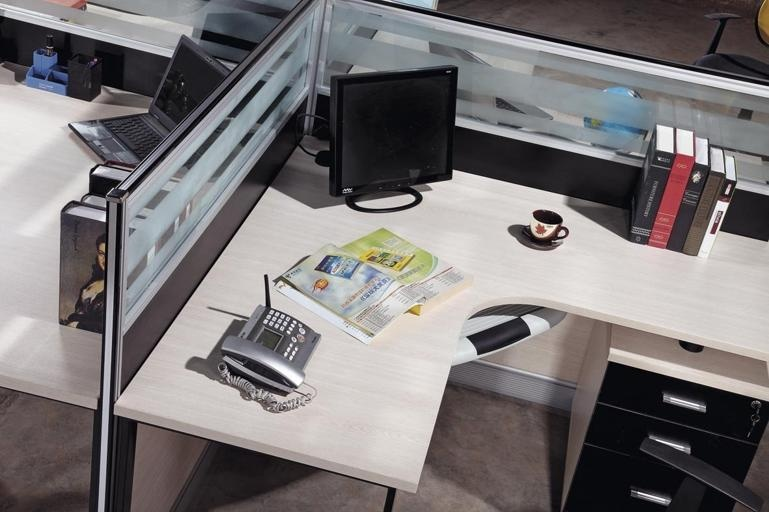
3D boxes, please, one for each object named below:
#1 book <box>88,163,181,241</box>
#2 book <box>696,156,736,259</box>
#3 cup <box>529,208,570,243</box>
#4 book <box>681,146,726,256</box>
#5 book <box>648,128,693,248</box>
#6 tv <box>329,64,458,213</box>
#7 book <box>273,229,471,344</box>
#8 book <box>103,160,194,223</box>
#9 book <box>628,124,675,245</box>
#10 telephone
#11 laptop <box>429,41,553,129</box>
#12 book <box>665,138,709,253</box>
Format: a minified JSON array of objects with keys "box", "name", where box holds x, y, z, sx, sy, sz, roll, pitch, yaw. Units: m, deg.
[{"box":[-0.723,-0.151,1.957,0.231,0.057,0.215,15,33,20],"name":"book"},{"box":[1.305,-0.185,2.647,0.083,0.315,0.331,16,28,17],"name":"book"},{"box":[0.634,-0.123,2.664,0.156,0.102,0.119,17,48,15],"name":"cup"},{"box":[1.247,-0.195,2.656,0.086,0.322,0.329,13,21,13],"name":"book"},{"box":[1.126,-0.247,2.658,0.094,0.357,0.373,13,32,8],"name":"book"},{"box":[0.029,-0.468,2.676,0.581,0.520,0.213,-10,32,-19],"name":"tv"},{"box":[-0.048,0.092,2.398,0.451,0.093,0.546,32,44,33],"name":"book"},{"box":[-0.677,-0.184,1.951,0.204,0.044,0.196,16,34,20],"name":"book"},{"box":[1.020,-0.279,2.699,0.099,0.381,0.406,15,24,15],"name":"book"},{"box":[-0.336,0.235,2.053,0.249,0.122,0.274,21,45,2],"name":"telephone"},{"box":[0.448,-0.724,2.852,0.363,0.305,0.478,-24,43,-30],"name":"laptop"},{"box":[1.204,-0.227,2.647,0.085,0.338,0.357,19,18,18],"name":"book"}]
